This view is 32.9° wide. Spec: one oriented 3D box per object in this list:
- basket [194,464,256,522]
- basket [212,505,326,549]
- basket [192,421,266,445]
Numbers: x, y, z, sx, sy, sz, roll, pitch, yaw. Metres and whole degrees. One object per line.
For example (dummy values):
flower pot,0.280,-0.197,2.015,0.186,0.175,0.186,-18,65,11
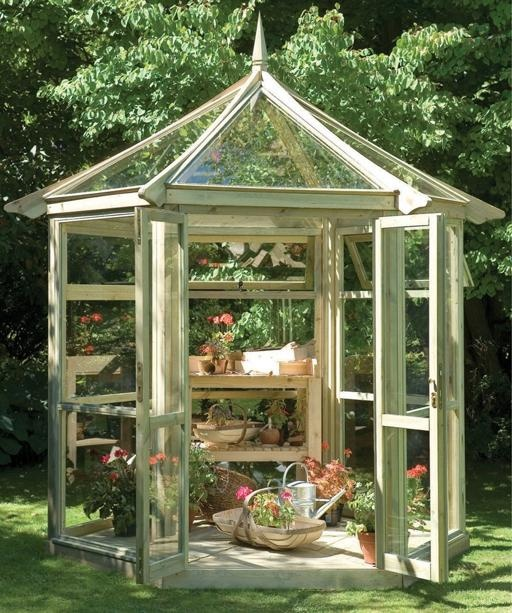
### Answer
basket,-0.261,1.544,7.272,0.488,0.325,0.437,25,-13,-8
basket,0.052,1.684,6.460,0.673,0.174,0.413,-2,-3,43
basket,-0.247,1.099,7.549,0.381,0.116,0.257,-1,-2,-13
